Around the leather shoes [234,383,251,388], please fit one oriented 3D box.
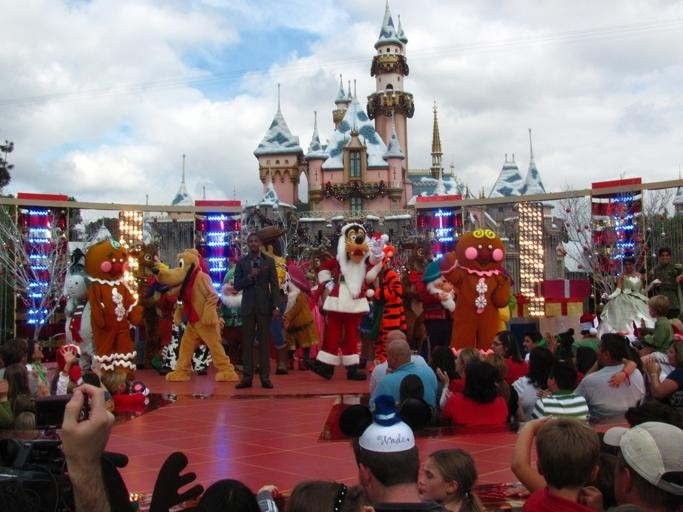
[{"bbox_3d":[-1.266,1.655,8.601,0.205,0.090,0.071,8,-11,-23],"label":"leather shoes"}]
